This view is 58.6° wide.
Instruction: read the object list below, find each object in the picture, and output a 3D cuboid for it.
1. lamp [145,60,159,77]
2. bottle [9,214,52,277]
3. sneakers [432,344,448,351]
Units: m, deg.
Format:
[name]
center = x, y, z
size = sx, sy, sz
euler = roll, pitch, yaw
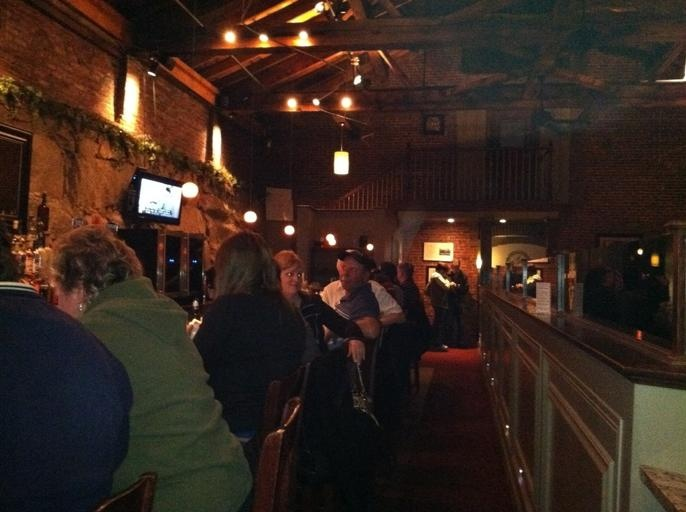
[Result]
[lamp]
center = -2.459, -2.430, 7.871
size = 0.227, 0.247, 0.224
euler = 0, 7, -20
[bottle]
center = -2.355, -0.091, 4.604
size = 0.342, 0.481, 0.159
euler = 8, -22, -43
[sneakers]
center = 1.681, 1.593, 10.630
size = 0.289, 0.111, 0.099
euler = -4, -1, 20
